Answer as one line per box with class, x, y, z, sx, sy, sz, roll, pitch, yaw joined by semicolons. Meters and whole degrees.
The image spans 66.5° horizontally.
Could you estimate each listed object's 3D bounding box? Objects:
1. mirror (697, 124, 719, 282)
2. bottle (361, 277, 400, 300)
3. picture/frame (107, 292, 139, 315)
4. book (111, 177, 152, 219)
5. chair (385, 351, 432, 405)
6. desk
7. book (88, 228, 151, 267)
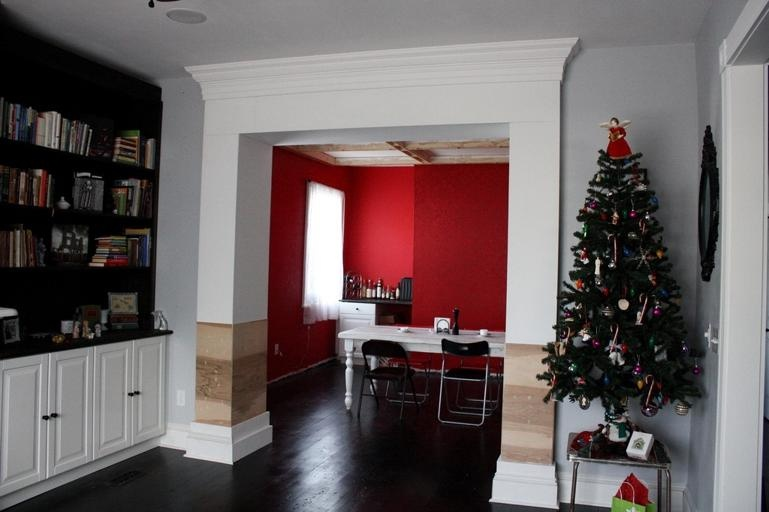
mirror;2.493;-0.397;4.514;0.108;1.205;0.472;2;5;21
bottle;-0.087;0.560;9.870;0.695;0.297;0.402;1;5;4
picture/frame;-2.635;0.482;5.881;0.224;0.212;0.073;1;0;-21
book;-2.514;-0.595;5.968;0.486;0.476;0.362;3;5;17
chair;0.366;1.679;8.109;0.485;0.868;0.607;0;7;15
desk;-0.174;1.076;8.273;1.072;1.016;0.458;0;-2;10
book;-2.598;-0.069;5.852;0.521;0.372;0.536;-4;9;-41
